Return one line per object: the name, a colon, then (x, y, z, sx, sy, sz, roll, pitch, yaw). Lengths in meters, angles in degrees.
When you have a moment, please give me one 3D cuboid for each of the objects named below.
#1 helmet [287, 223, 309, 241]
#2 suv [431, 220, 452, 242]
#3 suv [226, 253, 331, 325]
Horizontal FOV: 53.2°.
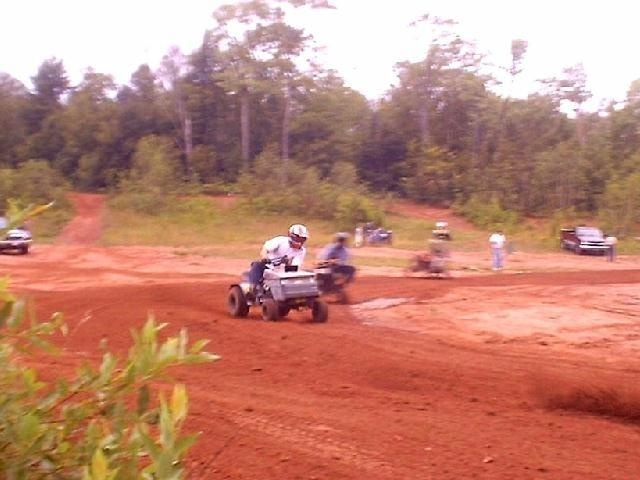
helmet: (-0.441, -0.126, 12.822, 0.385, 0.272, 0.376, 6, 13, 5)
suv: (6.921, -0.464, 36.441, 1.128, 0.942, 1.792, -1, -2, 11)
suv: (-0.955, 1.043, 13.218, 1.482, 1.129, 2.138, -1, -1, -26)
